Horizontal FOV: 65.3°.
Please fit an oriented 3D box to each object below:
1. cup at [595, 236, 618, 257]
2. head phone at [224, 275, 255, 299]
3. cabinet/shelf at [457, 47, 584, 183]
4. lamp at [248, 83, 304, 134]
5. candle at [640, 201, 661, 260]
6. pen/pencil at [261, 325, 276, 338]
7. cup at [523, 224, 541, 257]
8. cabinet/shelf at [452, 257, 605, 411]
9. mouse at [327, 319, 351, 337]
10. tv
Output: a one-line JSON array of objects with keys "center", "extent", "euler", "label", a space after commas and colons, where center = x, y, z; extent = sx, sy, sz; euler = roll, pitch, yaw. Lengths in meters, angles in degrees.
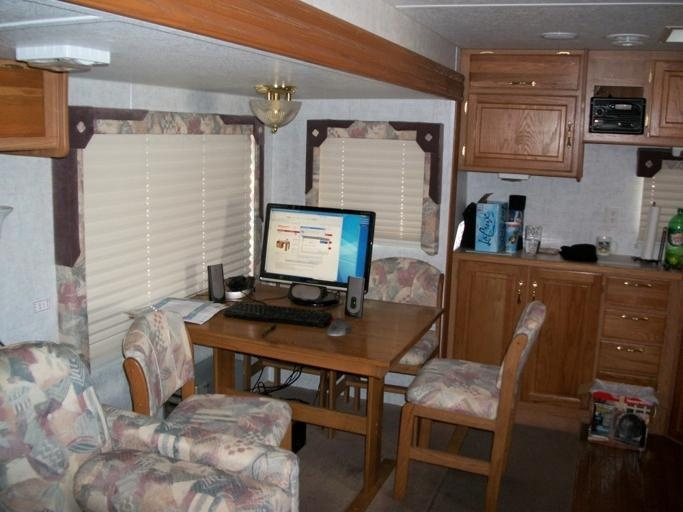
[{"center": [2.010, -0.076, 4.051], "extent": [0.166, 0.140, 0.093], "euler": [1, 10, -7], "label": "cup"}, {"center": [-0.688, 0.200, 3.498], "extent": [0.134, 0.078, 0.168], "euler": [3, 3, 17], "label": "head phone"}, {"center": [1.280, -1.040, 3.776], "extent": [0.880, 0.817, 0.332], "euler": [4, 12, 14], "label": "cabinet/shelf"}, {"center": [-0.361, -0.857, 3.109], "extent": [0.280, 0.249, 0.273], "euler": [-3, 6, -40], "label": "lamp"}, {"center": [2.275, -0.186, 3.911], "extent": [0.090, 0.418, 0.224], "euler": [8, 12, 29], "label": "candle"}, {"center": [-0.402, 0.412, 2.924], "extent": [0.021, 0.029, 0.141], "euler": [6, 6, 13], "label": "pen/pencil"}, {"center": [1.468, -0.126, 4.096], "extent": [0.139, 0.202, 0.371], "euler": [6, 10, 19], "label": "cup"}, {"center": [1.327, 0.526, 3.627], "extent": [1.091, 1.019, 0.410], "euler": [5, 7, 15], "label": "cabinet/shelf"}, {"center": [-0.019, 0.397, 2.910], "extent": [0.076, 0.034, 0.104], "euler": [5, 21, 6], "label": "mouse"}, {"center": [-0.165, 0.008, 3.382], "extent": [0.715, 0.474, 0.202], "euler": [5, 2, 16], "label": "tv"}]
